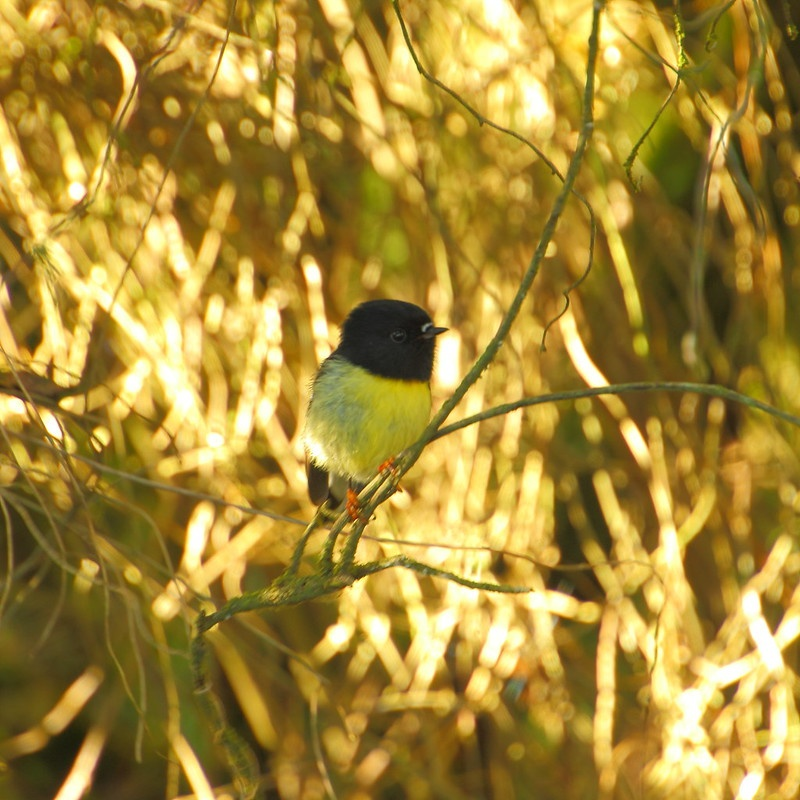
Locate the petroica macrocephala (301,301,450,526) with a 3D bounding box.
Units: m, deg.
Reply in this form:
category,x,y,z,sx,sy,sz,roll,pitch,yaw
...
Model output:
category,x,y,z,sx,sy,sz,roll,pitch,yaw
petroica macrocephala,-0.138,0.091,5.026,0.517,1.065,0.346,16,19,7
